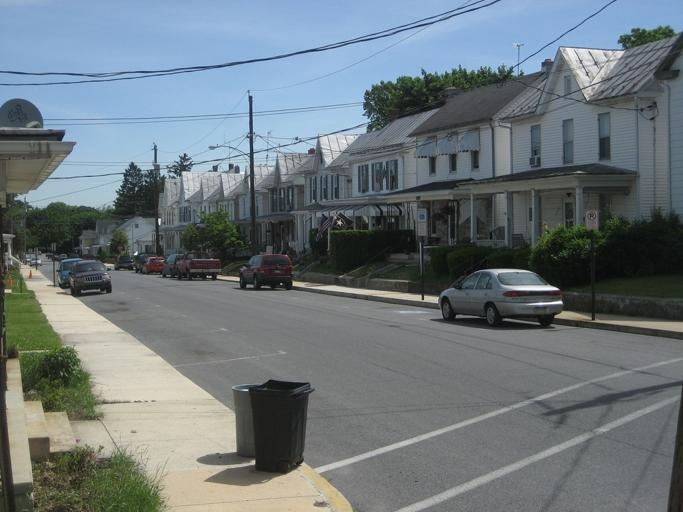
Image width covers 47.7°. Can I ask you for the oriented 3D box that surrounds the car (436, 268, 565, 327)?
[{"bbox_3d":[4.589,1.224,23.096,1.275,1.552,3.467,-1,-3,-43],"label":"car"}]

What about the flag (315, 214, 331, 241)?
[{"bbox_3d":[-1.200,-1.879,50.503,0.950,1.337,2.554,-2,-2,-7],"label":"flag"}]

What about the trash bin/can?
[{"bbox_3d":[-0.955,2.329,10.703,1.037,0.951,0.705,-2,-1,-3],"label":"trash bin/can"}]

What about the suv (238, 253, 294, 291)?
[{"bbox_3d":[-4.238,0.773,41.353,1.426,1.396,3.042,1,1,-21],"label":"suv"}]

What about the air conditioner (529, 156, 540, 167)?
[{"bbox_3d":[9.316,-4.552,37.483,0.381,0.540,0.720,1,-2,-7],"label":"air conditioner"}]

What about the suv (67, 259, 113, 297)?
[{"bbox_3d":[-12.472,1.051,38.363,1.918,1.766,2.532,-2,-2,-18],"label":"suv"}]
